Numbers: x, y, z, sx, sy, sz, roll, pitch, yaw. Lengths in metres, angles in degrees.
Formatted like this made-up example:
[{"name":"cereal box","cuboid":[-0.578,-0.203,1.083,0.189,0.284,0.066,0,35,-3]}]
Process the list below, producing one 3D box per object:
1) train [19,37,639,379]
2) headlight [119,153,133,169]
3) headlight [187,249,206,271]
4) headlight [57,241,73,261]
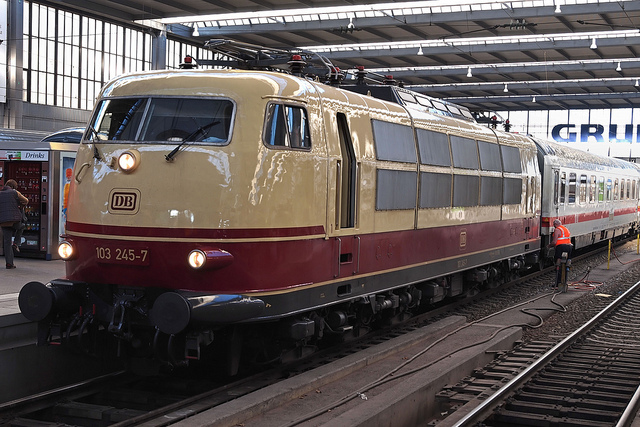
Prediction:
[{"name":"train","cuboid":[1.818,-0.338,12.403,2.908,6.067,15.548,2,2,41]},{"name":"headlight","cuboid":[-2.774,-0.744,7.404,0.228,0.217,0.046,2,1,30]},{"name":"headlight","cuboid":[-1.695,0.646,7.079,0.306,0.276,0.071,2,1,26]},{"name":"headlight","cuboid":[-3.840,0.568,7.766,0.147,0.283,0.338,0,2,-38]}]
